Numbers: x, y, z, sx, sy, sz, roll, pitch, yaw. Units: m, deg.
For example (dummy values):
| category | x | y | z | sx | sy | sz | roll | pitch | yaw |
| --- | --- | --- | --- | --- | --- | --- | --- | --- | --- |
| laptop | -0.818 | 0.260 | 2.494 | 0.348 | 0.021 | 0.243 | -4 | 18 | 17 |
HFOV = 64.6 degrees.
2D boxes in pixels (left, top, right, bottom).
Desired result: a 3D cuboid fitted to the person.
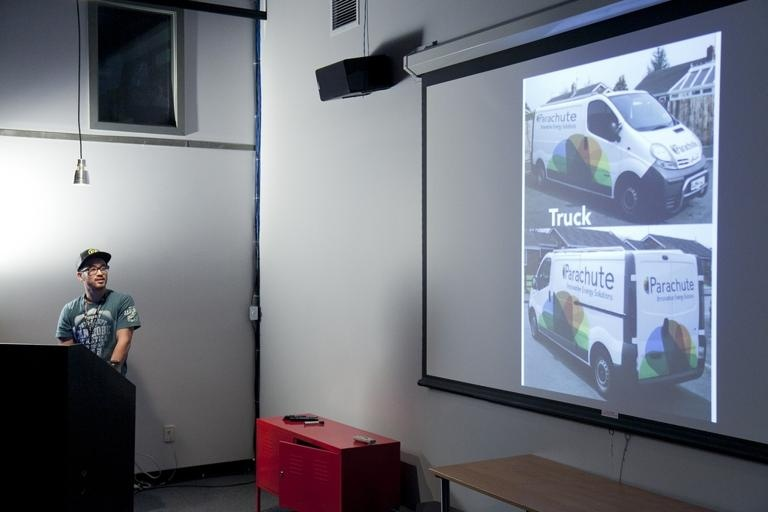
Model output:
| category | x | y | z | sx | sy | sz | roll | pitch | yaw |
| --- | --- | --- | --- | --- | --- | --- | --- | --- | --- |
| person | -2.337 | 0.514 | 4.839 | 0.632 | 1.137 | 0.607 | -6 | -13 | -7 |

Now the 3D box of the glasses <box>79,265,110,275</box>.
| category | x | y | z | sx | sy | sz | roll | pitch | yaw |
| --- | --- | --- | --- | --- | --- | --- | --- | --- | --- |
| glasses | -2.359 | 0.102 | 4.843 | 0.219 | 0.088 | 0.102 | -10 | 6 | -21 |

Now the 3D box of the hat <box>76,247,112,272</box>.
| category | x | y | z | sx | sy | sz | roll | pitch | yaw |
| --- | --- | --- | --- | --- | --- | --- | --- | --- | --- |
| hat | -2.358 | -0.020 | 4.864 | 0.244 | 0.130 | 0.170 | -36 | -18 | 20 |
